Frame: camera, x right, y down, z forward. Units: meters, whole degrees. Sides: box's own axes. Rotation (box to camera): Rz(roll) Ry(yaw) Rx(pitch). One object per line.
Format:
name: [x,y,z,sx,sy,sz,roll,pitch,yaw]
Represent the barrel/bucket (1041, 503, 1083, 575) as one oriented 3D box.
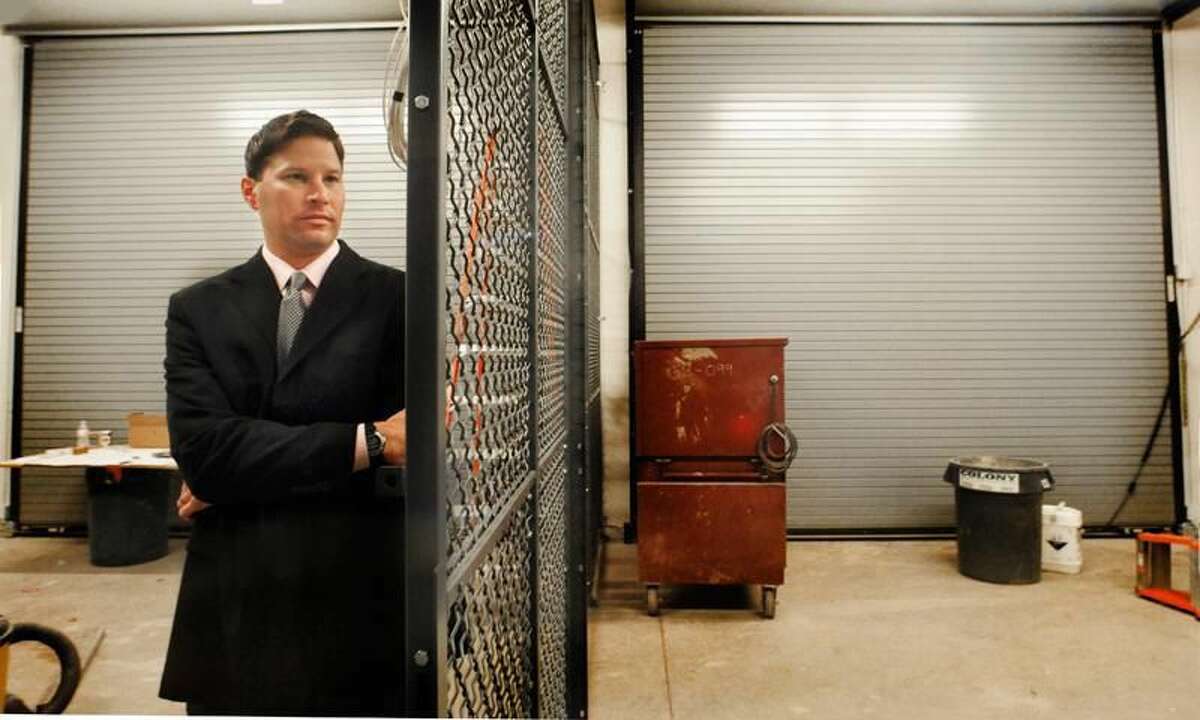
barrel/bucket: [5.164,1.978,11.255,0.419,0.724,0.248,2,6,18]
